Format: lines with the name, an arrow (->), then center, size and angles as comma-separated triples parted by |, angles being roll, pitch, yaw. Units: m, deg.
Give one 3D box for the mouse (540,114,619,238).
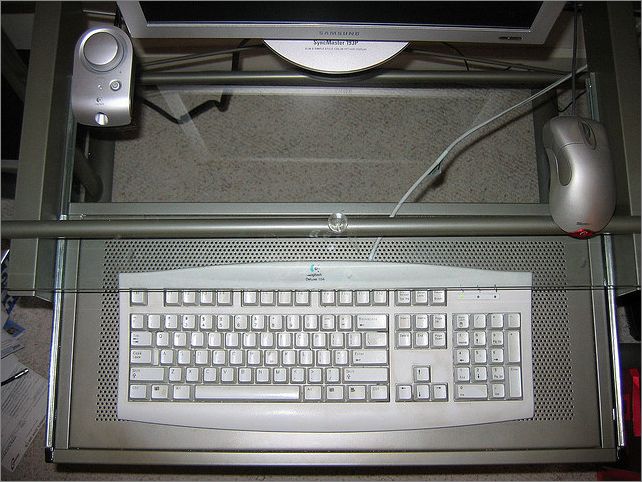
mouse -> 0.432, -0.121, 0.947 | 0.106, 0.070, 0.217 | 8, 63, -2
